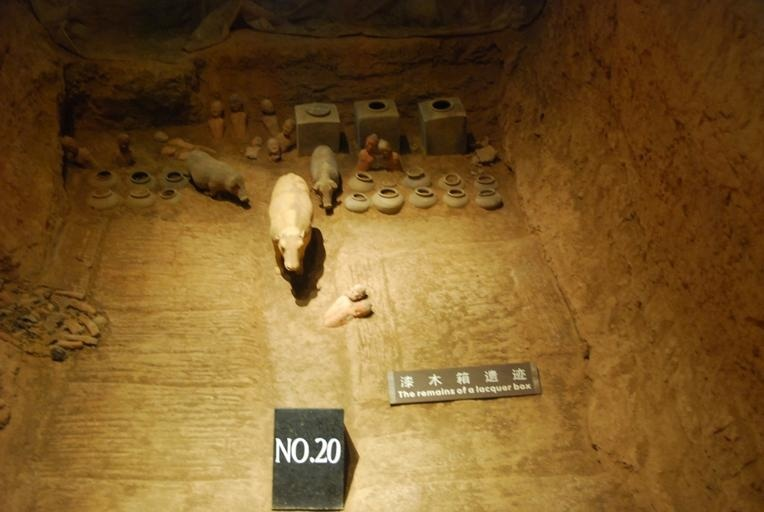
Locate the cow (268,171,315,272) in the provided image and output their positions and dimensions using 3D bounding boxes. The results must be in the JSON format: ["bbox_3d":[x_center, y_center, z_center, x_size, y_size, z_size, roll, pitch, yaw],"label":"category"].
[{"bbox_3d":[-1.078,-0.440,9.972,0.414,0.684,1.272,-1,55,-4],"label":"cow"}]

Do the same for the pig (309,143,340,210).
[{"bbox_3d":[-0.727,-1.017,10.750,0.288,0.459,0.927,-4,45,0],"label":"pig"}]
